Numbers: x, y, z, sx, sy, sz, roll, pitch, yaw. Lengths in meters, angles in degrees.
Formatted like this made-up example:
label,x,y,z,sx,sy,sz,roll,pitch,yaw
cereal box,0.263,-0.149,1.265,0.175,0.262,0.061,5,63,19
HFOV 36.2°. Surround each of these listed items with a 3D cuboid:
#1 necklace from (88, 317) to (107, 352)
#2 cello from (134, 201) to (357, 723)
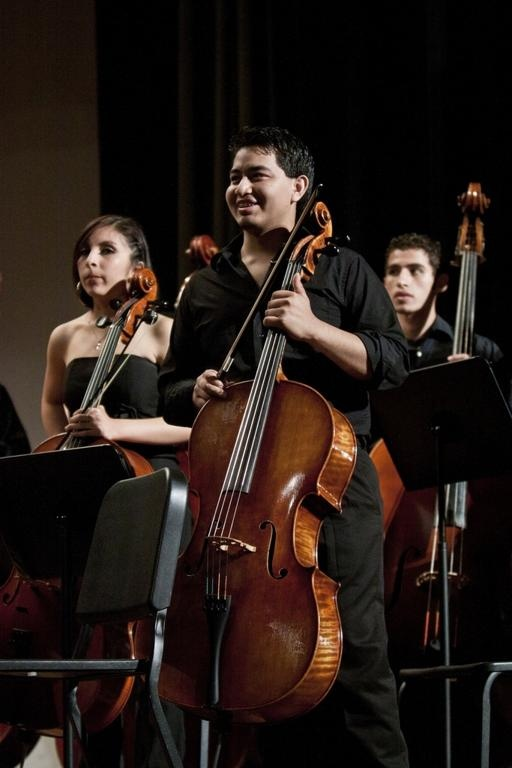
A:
label,x,y,z,sx,sy,sz,roll,pitch,yaw
necklace,-0.503,-0.160,2.498,0.063,0.119,0.029,0,4,20
cello,0.009,0.234,1.469,0.345,0.667,0.448,2,4,5
